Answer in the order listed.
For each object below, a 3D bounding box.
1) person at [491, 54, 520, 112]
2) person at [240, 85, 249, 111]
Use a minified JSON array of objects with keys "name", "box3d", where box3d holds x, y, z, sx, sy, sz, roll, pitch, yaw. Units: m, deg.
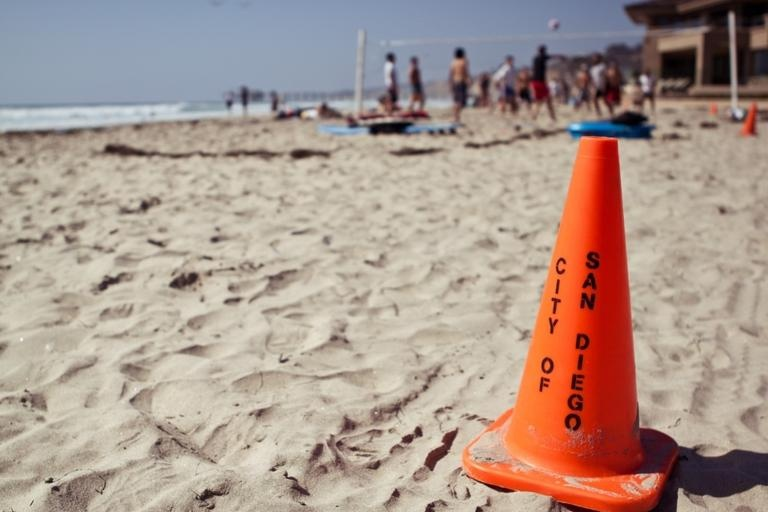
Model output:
[{"name":"person","box3d":[1.561,-2.220,10.042,0.304,0.736,0.807,-1,14,9]},{"name":"person","box3d":[-2.835,-3.188,15.602,0.180,0.415,0.785,-6,14,-10]}]
